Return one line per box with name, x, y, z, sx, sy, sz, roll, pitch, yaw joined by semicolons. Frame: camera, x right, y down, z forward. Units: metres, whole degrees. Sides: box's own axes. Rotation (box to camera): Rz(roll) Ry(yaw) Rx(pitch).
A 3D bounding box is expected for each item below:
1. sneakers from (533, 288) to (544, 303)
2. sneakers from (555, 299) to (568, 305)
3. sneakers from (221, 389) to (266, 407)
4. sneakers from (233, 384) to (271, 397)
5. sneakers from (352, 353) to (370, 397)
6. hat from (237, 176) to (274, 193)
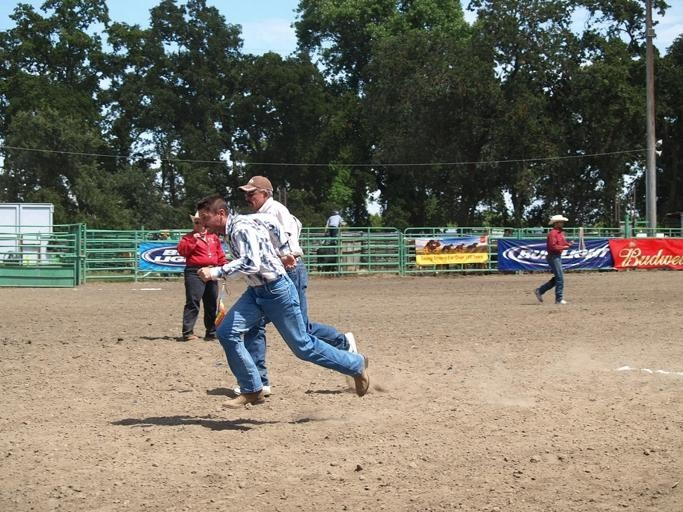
sneakers;4.578;0.914;20.234;0.163;0.352;0.120;-35;22;8
sneakers;4.896;1.020;19.366;0.251;0.087;0.317;-1;1;11
sneakers;-1.257;1.805;10.929;0.572;0.219;0.182;4;6;-21
sneakers;-1.094;1.768;11.275;0.537;0.183;0.181;8;-11;-22
sneakers;0.248;1.564;11.209;0.257;0.503;0.215;-18;22;-35
hat;-1.082;-0.930;11.137;0.378;0.146;0.228;3;-3;-16
